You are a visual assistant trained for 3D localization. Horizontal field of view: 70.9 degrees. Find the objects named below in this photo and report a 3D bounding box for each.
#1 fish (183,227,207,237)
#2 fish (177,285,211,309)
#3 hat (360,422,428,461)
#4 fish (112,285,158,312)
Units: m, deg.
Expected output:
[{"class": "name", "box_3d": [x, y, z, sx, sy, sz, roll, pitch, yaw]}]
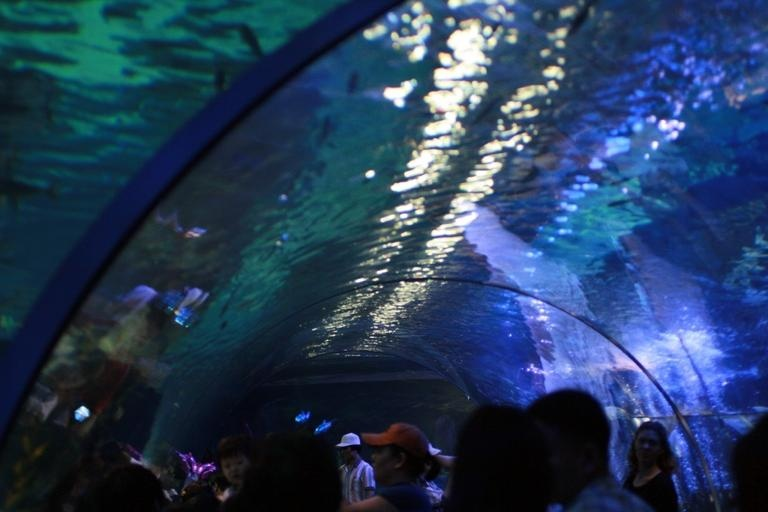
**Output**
[{"class": "fish", "box_3d": [-1.900, -0.236, 5.422, 0.131, 0.026, 0.121, -17, -11, 3]}, {"class": "fish", "box_3d": [-2.249, 0.475, 6.339, 0.135, 0.289, 0.170, 45, -58, 7]}, {"class": "hat", "box_3d": [0.095, 1.500, 4.525, 0.650, 0.186, 0.363, 5, -9, -3]}, {"class": "fish", "box_3d": [-2.531, 0.432, 5.600, 0.166, 0.275, 0.460, 16, -28, -2]}]
